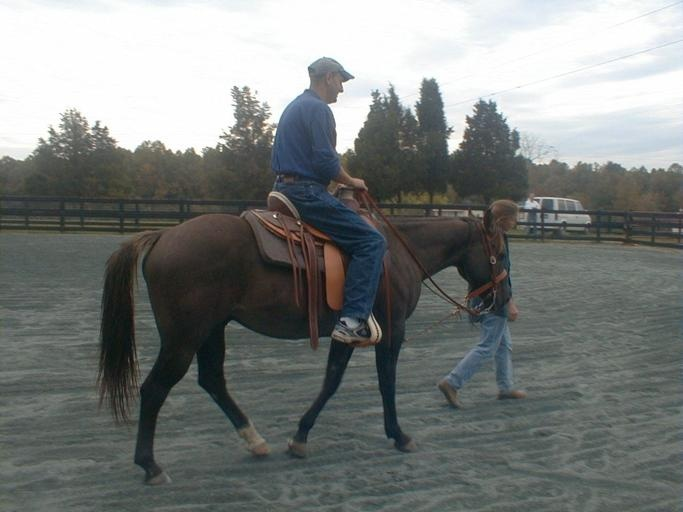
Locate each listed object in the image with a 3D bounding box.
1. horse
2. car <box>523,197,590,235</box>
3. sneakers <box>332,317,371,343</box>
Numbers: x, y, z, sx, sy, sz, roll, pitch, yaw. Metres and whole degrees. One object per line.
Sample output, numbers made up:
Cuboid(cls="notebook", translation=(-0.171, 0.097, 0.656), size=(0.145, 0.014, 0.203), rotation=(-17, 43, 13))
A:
Cuboid(cls="horse", translation=(-0.168, 0.706, 6.520), size=(3.935, 2.340, 0.876), rotation=(-2, -2, -11))
Cuboid(cls="car", translation=(9.012, -1.629, 29.304), size=(4.136, 1.620, 1.953), rotation=(-7, 9, -41))
Cuboid(cls="sneakers", translation=(0.103, 0.659, 6.095), size=(0.411, 0.183, 0.159), rotation=(0, 1, -31))
